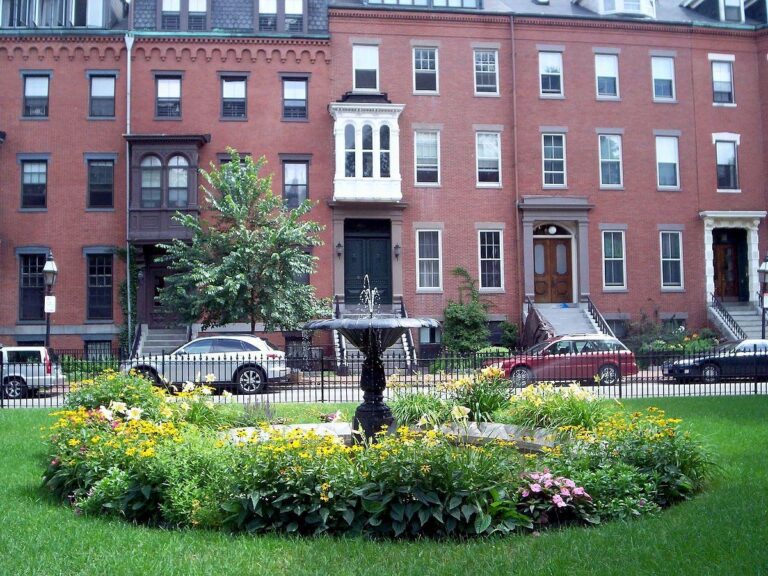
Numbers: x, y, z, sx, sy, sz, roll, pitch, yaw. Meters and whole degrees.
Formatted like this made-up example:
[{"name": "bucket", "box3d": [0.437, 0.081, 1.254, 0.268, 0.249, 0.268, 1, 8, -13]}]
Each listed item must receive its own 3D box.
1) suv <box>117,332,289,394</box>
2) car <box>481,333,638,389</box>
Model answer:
[{"name": "suv", "box3d": [-5.522, 2.415, 34.096, 4.878, 1.779, 2.083, 2, -6, -5]}, {"name": "car", "box3d": [6.226, 2.504, 35.321, 4.057, 1.468, 2.291, -3, 14, -16]}]
